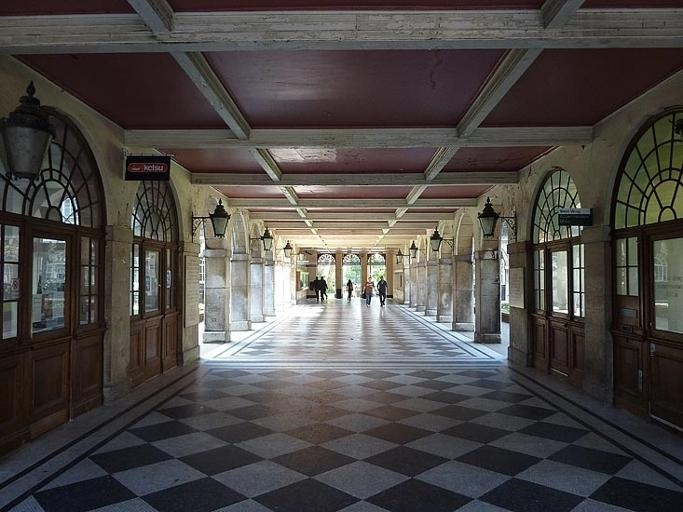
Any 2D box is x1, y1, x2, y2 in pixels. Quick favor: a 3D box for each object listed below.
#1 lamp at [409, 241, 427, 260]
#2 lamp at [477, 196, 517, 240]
[{"bbox_3d":[3.426,-0.230,20.697,1.011,1.286,0.683,2,2,10],"label":"lamp"},{"bbox_3d":[3.145,-0.709,8.973,0.760,0.969,0.297,0,-29,19],"label":"lamp"}]
